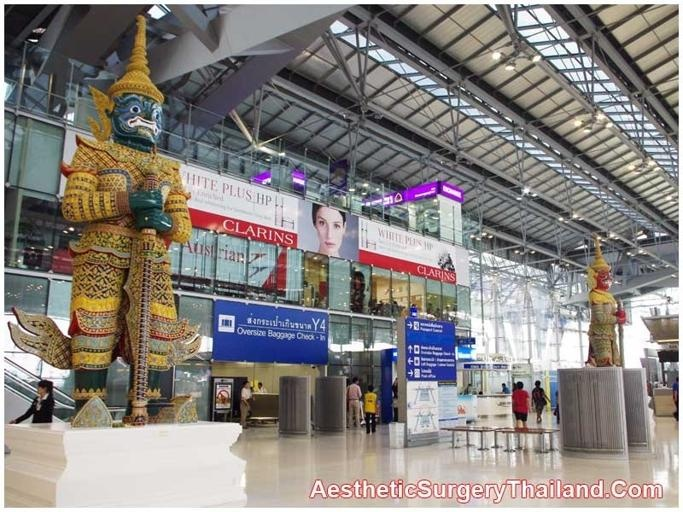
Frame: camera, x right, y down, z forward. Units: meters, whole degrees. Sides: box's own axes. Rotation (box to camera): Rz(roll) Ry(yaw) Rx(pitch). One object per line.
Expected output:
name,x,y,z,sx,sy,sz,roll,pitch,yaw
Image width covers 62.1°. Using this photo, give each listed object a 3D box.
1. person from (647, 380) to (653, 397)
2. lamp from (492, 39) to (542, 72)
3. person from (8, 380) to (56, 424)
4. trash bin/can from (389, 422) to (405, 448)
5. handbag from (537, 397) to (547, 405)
person,13.831,5.990,25.379,0.164,0.598,2.238,-7,-16,26
lamp,5.700,-6.585,18.527,1.273,0.366,1.261,1,-31,25
person,-4.867,2.337,9.105,0.422,0.649,1.508,8,-16,-27
trash bin/can,1.266,4.066,12.831,0.340,0.531,0.432,-1,-14,6
handbag,6.807,4.917,19.153,0.235,0.192,2.110,-5,-15,18
